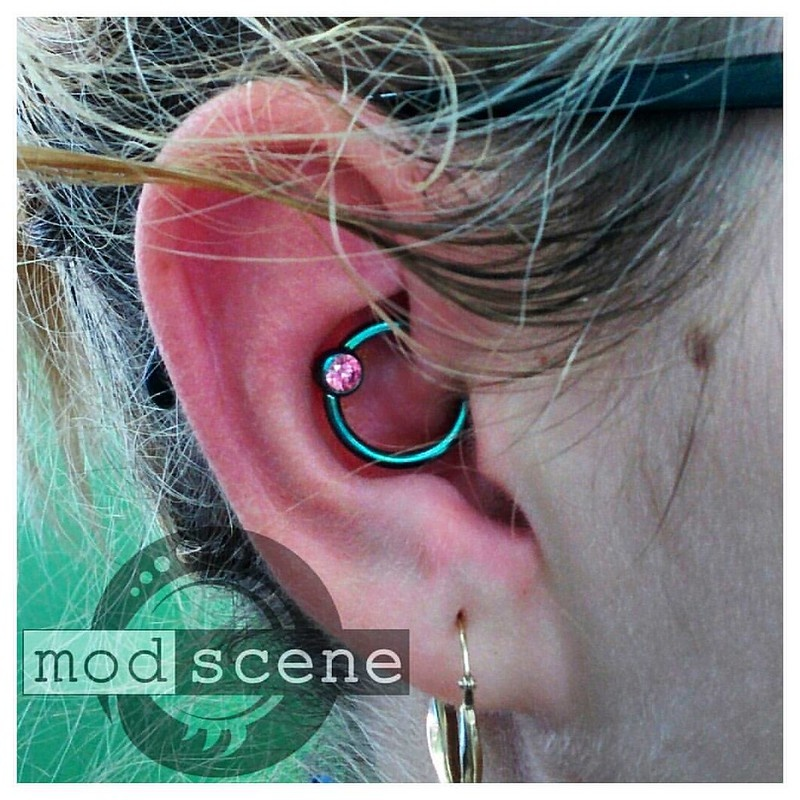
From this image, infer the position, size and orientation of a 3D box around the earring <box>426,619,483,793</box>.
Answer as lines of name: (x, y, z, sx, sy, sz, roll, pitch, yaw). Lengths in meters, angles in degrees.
earring: (0.086, 0.473, 1.458, 0.092, 0.280, 0.037, 4, 18, 30)
